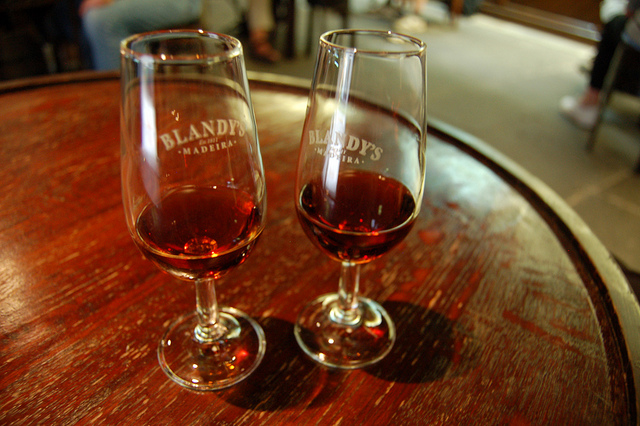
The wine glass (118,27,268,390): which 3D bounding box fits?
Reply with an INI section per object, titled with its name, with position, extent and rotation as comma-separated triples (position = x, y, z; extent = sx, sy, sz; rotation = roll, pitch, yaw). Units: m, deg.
[wine glass]
position = -0.151, 0.023, 0.657
extent = 0.155, 0.372, 0.145
rotation = -5, 28, -18
